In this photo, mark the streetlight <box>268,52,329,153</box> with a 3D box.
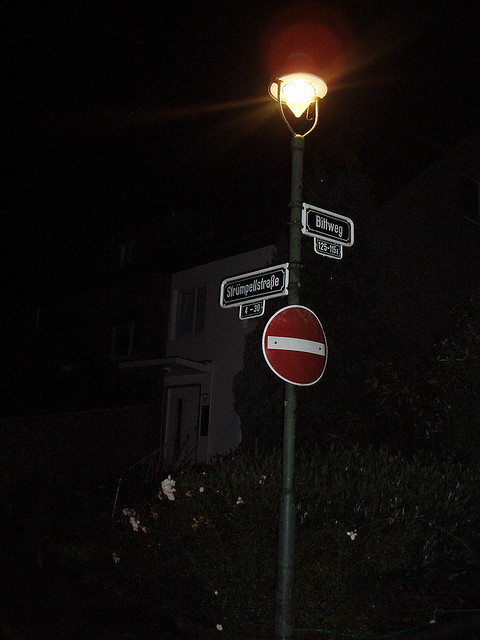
[{"bbox_3d":[0.497,-1.762,4.722,0.346,0.956,0.413,2,-9,2],"label":"streetlight"}]
